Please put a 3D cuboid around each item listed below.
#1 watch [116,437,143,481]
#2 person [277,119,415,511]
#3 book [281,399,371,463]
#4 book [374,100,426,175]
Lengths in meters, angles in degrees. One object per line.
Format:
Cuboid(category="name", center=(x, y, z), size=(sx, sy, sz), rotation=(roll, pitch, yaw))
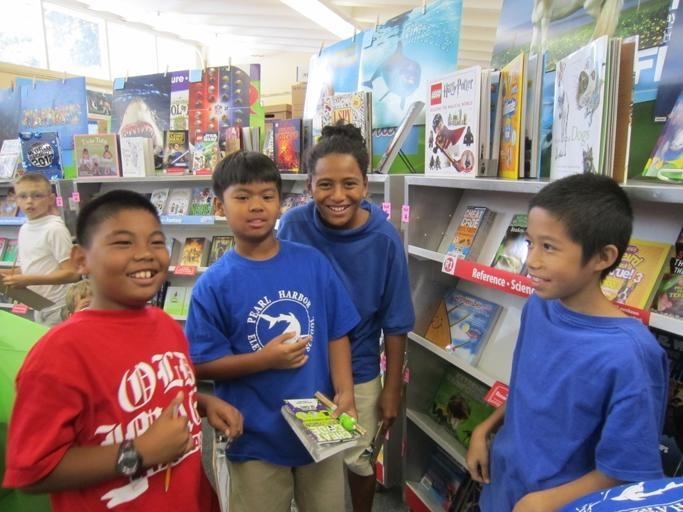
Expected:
Cuboid(category="watch", center=(-0.602, 0.570, 1.348), size=(0.070, 0.082, 0.043), rotation=(-6, 16, -26))
Cuboid(category="person", center=(0.025, 0.280, 2.315), size=(0.561, 1.661, 0.633), rotation=(4, 17, -7))
Cuboid(category="book", center=(-0.073, 0.584, 1.693), size=(0.229, 0.067, 0.329), rotation=(-6, 16, -24))
Cuboid(category="book", center=(0.336, -0.696, 2.902), size=(0.172, 0.447, 0.353), rotation=(-9, 24, -31))
